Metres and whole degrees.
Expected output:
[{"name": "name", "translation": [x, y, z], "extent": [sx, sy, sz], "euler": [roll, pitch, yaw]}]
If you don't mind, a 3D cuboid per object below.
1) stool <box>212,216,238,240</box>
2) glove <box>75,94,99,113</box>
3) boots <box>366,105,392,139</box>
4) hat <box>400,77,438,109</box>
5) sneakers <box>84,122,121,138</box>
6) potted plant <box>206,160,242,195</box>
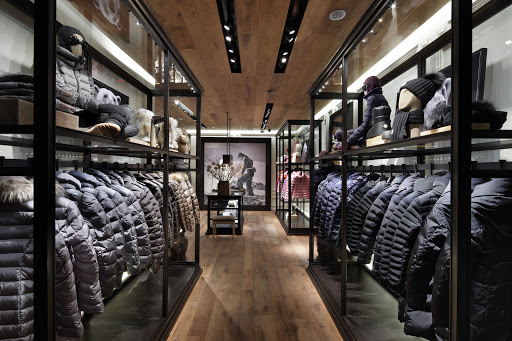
[{"name": "stool", "translation": [-0.559, 0.995, 5.972], "extent": [0.369, 0.352, 0.398], "euler": [0, -6, -1]}, {"name": "glove", "translation": [-1.285, -0.507, 2.586], "extent": [0.125, 0.055, 0.126], "euler": [5, 26, -25]}, {"name": "boots", "translation": [1.088, -0.406, 3.042], "extent": [0.151, 0.294, 0.398], "euler": [0, 1, -6]}, {"name": "hat", "translation": [1.230, -0.588, 2.634], "extent": [0.183, 0.227, 0.247], "euler": [4, 4, -4]}, {"name": "sneakers", "translation": [-1.095, -0.286, 2.475], "extent": [0.176, 0.106, 0.075], "euler": [-4, 38, -37]}, {"name": "potted plant", "translation": [-0.679, 0.101, 6.979], "extent": [0.796, 0.881, 0.740], "euler": [0, -6, -1]}]
